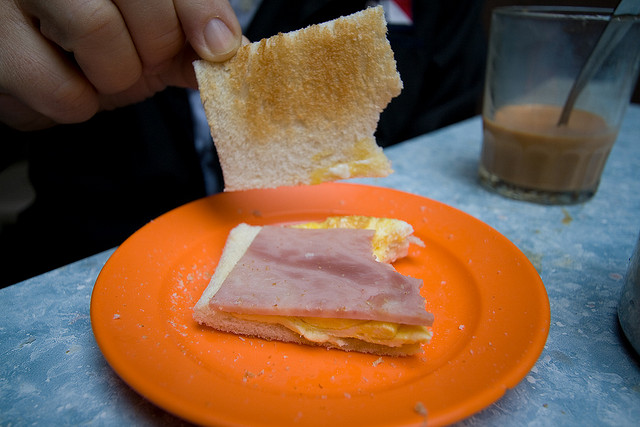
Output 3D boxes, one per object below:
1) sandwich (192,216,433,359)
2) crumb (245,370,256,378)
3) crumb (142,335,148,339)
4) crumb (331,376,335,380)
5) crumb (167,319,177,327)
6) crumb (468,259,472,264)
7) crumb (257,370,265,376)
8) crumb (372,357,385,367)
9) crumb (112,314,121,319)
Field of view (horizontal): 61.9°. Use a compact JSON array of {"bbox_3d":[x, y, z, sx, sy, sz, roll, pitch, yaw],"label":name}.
[{"bbox_3d":[-0.006,0.243,1.785,0.534,0.162,0.506,5,40,4],"label":"sandwich"},{"bbox_3d":[-0.212,0.491,1.636,0.013,0.007,0.026,-6,19,-25],"label":"crumb"},{"bbox_3d":[-0.536,0.379,1.646,0.013,0.009,0.016,-17,55,-7],"label":"crumb"},{"bbox_3d":[0.041,0.503,1.637,0.010,0.003,0.011,-5,55,1],"label":"crumb"},{"bbox_3d":[-0.475,0.354,1.733,0.021,0.005,0.021,-3,34,-35],"label":"crumb"},{"bbox_3d":[0.525,0.169,1.871,0.008,0.003,0.014,11,63,25],"label":"crumb"},{"bbox_3d":[-0.179,0.490,1.640,0.023,0.007,0.013,-35,59,-18],"label":"crumb"},{"bbox_3d":[0.183,0.468,1.685,0.041,0.014,0.023,-27,56,-13],"label":"crumb"},{"bbox_3d":[-0.632,0.321,1.668,0.016,0.011,0.017,-12,54,-4],"label":"crumb"}]
